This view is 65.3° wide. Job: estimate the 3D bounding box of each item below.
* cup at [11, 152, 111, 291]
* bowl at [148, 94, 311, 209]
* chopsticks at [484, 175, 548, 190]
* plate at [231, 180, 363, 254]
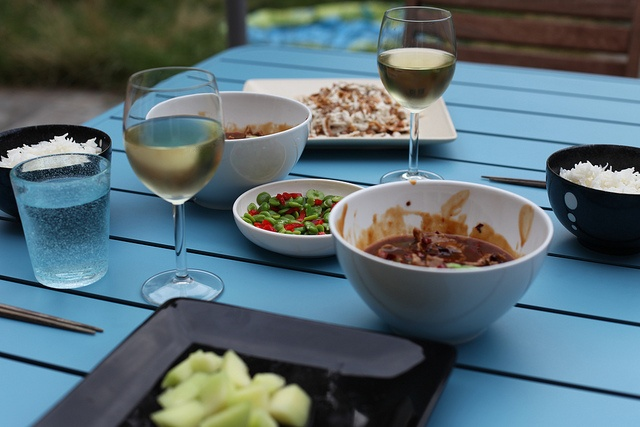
[{"bbox_3d":[-0.461,0.021,0.926,0.170,0.200,0.171,-4,12,1],"label":"cup"},{"bbox_3d":[-0.154,-0.156,1.146,0.264,0.154,0.267,0,29,0],"label":"bowl"},{"bbox_3d":[0.447,-0.070,1.148,0.145,0.024,0.022,9,63,5],"label":"chopsticks"},{"bbox_3d":[-0.048,0.007,0.996,0.189,0.051,0.187,-4,28,-11],"label":"plate"}]
